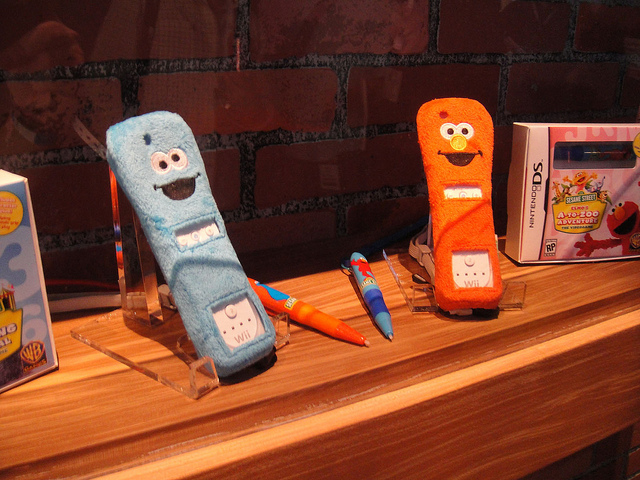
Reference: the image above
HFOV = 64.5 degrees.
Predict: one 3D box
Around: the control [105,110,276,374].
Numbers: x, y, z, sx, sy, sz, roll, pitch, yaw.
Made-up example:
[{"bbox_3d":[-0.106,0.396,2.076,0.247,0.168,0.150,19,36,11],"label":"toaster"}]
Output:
[{"bbox_3d":[-0.142,-0.001,0.556,0.091,0.256,0.161,-20,24,-31],"label":"control"}]
